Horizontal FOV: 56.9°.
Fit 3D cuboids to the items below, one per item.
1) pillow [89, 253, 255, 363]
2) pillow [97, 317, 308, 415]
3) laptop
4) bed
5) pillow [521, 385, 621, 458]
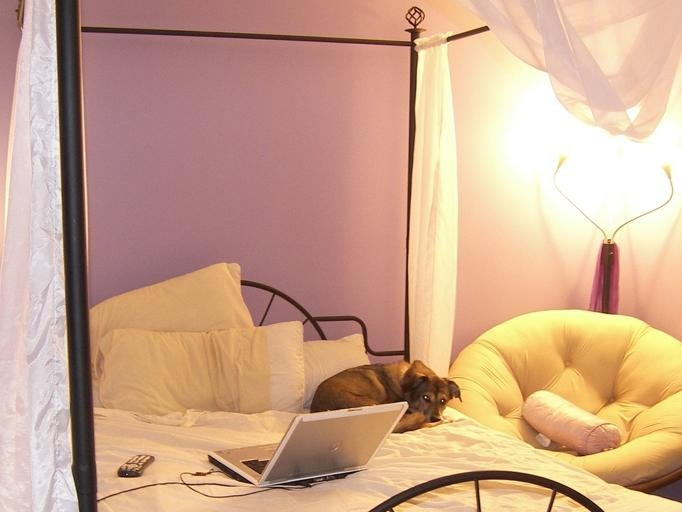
[{"bbox_3d":[-0.816,0.222,2.976,0.668,0.427,0.170,-12,-10,-18],"label":"pillow"},{"bbox_3d":[-0.672,0.526,3.082,0.997,0.323,0.627,1,9,-9],"label":"pillow"},{"bbox_3d":[-0.105,0.554,2.134,0.374,0.252,0.362,3,9,-39],"label":"laptop"},{"bbox_3d":[0.472,-0.077,2.557,1.557,1.562,1.482,0,1,30],"label":"bed"},{"bbox_3d":[1.079,0.802,3.020,0.158,0.227,0.443,-34,31,-31],"label":"pillow"}]
